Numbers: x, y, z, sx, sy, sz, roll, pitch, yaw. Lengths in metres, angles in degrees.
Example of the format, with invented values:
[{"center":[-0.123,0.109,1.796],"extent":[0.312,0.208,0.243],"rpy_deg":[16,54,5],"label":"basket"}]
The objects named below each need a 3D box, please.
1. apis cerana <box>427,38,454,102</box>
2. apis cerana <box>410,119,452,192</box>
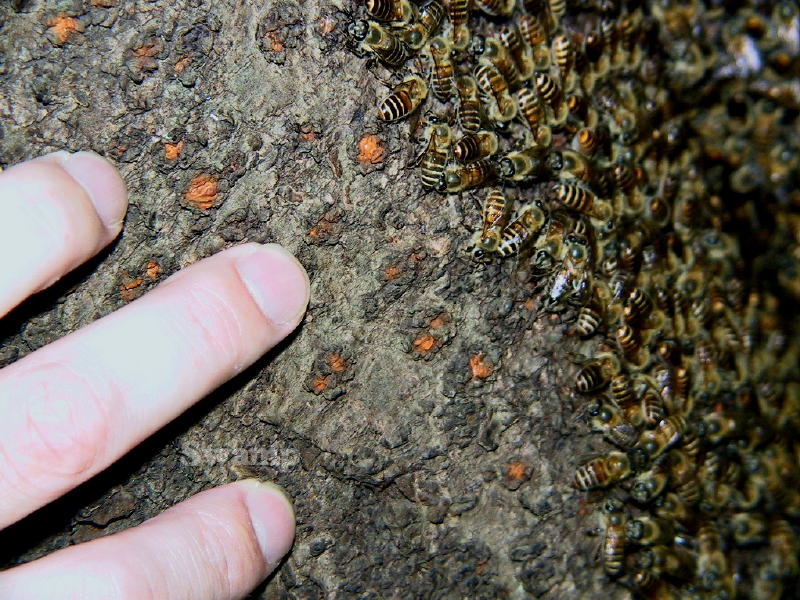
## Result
[{"center":[0.253,-1.395,4.905],"extent":[0.157,0.209,0.301],"rpy_deg":[1,59,-4],"label":"apis cerana"},{"center":[0.202,-0.849,4.865],"extent":[0.224,0.107,0.403],"rpy_deg":[7,89,1],"label":"apis cerana"}]
